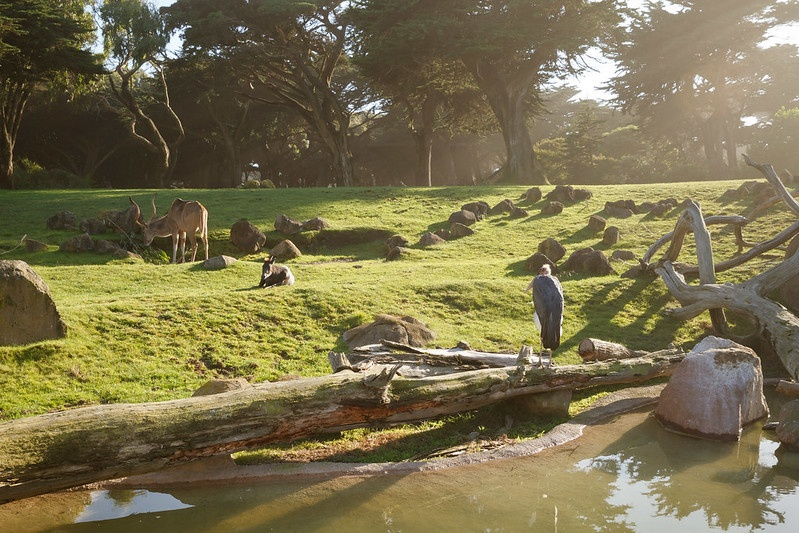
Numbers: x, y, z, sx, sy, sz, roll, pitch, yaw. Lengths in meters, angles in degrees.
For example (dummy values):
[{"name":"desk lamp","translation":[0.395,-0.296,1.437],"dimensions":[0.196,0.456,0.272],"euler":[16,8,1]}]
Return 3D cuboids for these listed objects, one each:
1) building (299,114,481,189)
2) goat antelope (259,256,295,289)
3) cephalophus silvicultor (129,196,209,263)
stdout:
[{"name":"building","translation":[-0.882,-9.600,58.566],"dimensions":[13.549,6.569,29.912],"euler":[-2,6,6]},{"name":"goat antelope","translation":[-4.118,0.225,23.785],"dimensions":[1.169,0.830,1.270],"euler":[-4,6,-10]},{"name":"cephalophus silvicultor","translation":[-8.586,-1.621,29.248],"dimensions":[4.509,3.938,1.852],"euler":[2,3,34]}]
